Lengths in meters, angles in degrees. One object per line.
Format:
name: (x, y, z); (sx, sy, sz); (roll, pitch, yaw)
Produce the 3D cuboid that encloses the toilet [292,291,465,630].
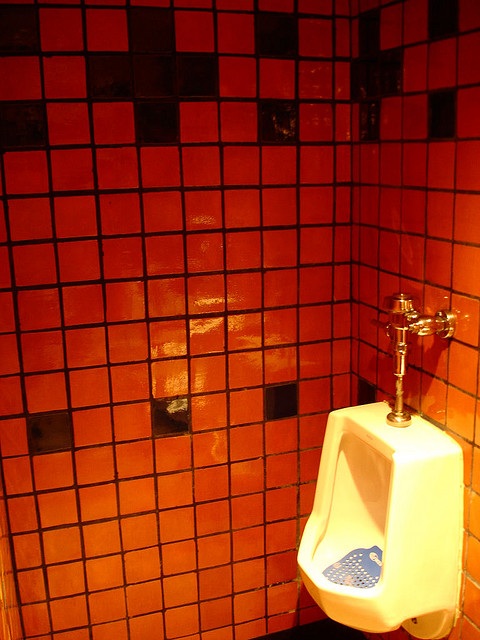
toilet: (0.323, 0.355, 1.359); (0.300, 0.780, 0.301); (-5, 13, -25)
